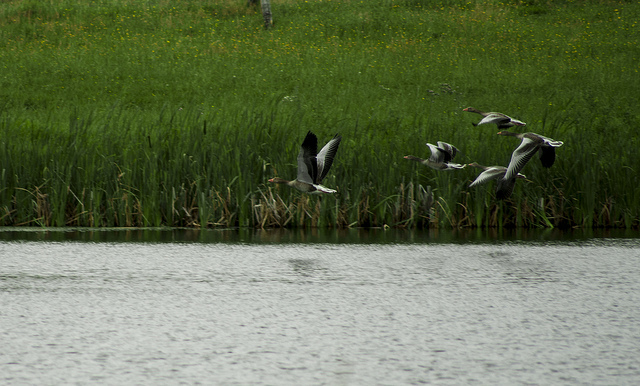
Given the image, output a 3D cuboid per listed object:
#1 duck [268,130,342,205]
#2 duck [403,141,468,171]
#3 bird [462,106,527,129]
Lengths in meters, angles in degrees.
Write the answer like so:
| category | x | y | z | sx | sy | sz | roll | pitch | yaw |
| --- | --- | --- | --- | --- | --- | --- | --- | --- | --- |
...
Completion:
| category | x | y | z | sx | sy | sz | roll | pitch | yaw |
| --- | --- | --- | --- | --- | --- | --- | --- | --- | --- |
| duck | -0.113 | -0.642 | 19.712 | 0.924 | 1.342 | 0.909 | 1 | 7 | 13 |
| duck | 2.717 | -0.833 | 20.920 | 1.053 | 0.629 | 0.949 | 2 | 7 | 20 |
| bird | 3.697 | -1.556 | 19.863 | 1.005 | 0.346 | 0.674 | 0 | 15 | 20 |
